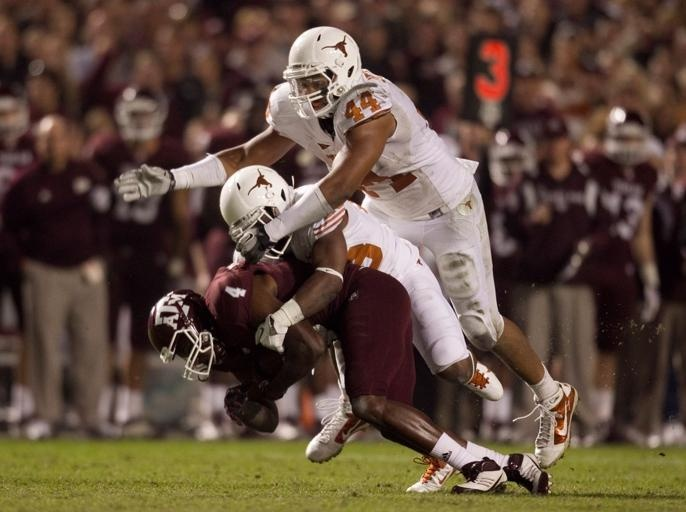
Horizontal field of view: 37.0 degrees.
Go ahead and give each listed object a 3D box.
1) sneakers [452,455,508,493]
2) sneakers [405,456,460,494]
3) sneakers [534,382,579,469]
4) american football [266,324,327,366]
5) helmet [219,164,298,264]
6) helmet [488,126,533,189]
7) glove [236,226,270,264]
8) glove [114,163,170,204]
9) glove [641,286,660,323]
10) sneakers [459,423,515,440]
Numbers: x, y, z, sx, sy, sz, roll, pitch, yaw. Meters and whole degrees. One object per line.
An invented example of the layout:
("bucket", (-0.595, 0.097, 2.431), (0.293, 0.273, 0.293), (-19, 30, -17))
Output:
("sneakers", (0.729, 1.162, 5.441), (0.368, 0.160, 0.124), (1, -10, -31))
("sneakers", (0.475, 1.210, 5.664), (0.123, 0.172, 0.368), (-5, 10, 42))
("sneakers", (1.276, 1.015, 6.125), (0.232, 0.508, 0.299), (2, -3, 12))
("american football", (-0.230, 0.457, 5.394), (0.242, 0.181, 0.104), (31, -7, -13))
("helmet", (-0.496, -0.165, 5.718), (0.501, 0.504, 0.379), (15, -23, -15))
("helmet", (1.309, -0.736, 7.856), (0.241, 0.448, 0.539), (1, -4, 32))
("glove", (-0.463, -0.041, 5.463), (0.190, 0.141, 0.089), (-42, -31, 12))
("glove", (-1.132, -0.401, 5.866), (0.316, 0.186, 0.113), (-14, -3, -32))
("glove", (2.338, 0.372, 7.822), (0.094, 0.265, 0.273), (1, -4, 32))
("sneakers", (1.056, 1.320, 7.654), (0.447, 0.124, 0.085), (5, -4, -24))
